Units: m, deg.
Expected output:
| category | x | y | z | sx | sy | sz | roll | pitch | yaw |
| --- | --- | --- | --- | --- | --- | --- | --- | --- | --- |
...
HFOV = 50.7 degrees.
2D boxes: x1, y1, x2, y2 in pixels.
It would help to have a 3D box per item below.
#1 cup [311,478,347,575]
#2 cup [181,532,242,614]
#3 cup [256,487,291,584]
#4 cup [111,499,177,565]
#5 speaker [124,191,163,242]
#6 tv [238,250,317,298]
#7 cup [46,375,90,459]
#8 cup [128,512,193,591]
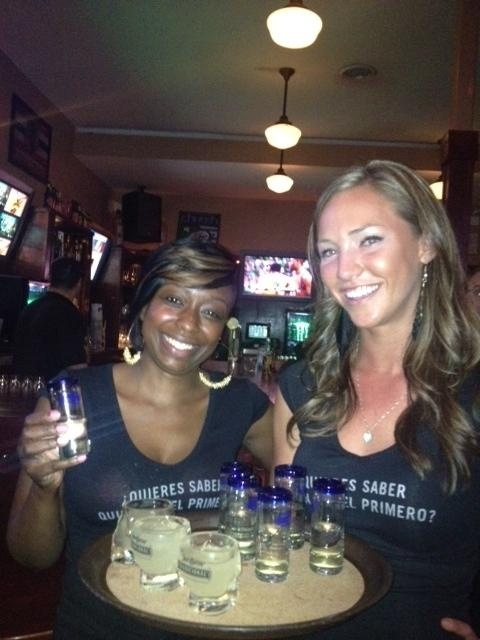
| category | x | y | z | sx | sy | sz | roll | pitch | yaw |
| --- | --- | --- | --- | --- | --- | --- | --- | --- | --- |
| cup | 0.211 | 0.488 | 1.211 | 0.084 | 0.181 | 0.074 | 5 | 2 | 11 |
| cup | -0.056 | 0.496 | 1.013 | 0.125 | 0.120 | 0.134 | 1 | -6 | 0 |
| cup | 0.078 | 0.487 | 1.175 | 0.084 | 0.160 | 0.109 | 5 | 2 | 4 |
| cup | -0.244 | 0.464 | 1.198 | 0.153 | 0.132 | 0.149 | 1 | 0 | 0 |
| speaker | -1.566 | -1.622 | 8.069 | 0.638 | 0.498 | 0.396 | 4 | 2 | -14 |
| tv | 0.539 | -0.678 | 7.832 | 1.185 | 0.674 | 0.143 | 3 | -6 | 1 |
| cup | -0.437 | 0.245 | 1.289 | 0.111 | 0.205 | 0.097 | 4 | 2 | -11 |
| cup | -0.165 | 0.484 | 1.086 | 0.141 | 0.128 | 0.136 | 0 | -4 | 0 |
